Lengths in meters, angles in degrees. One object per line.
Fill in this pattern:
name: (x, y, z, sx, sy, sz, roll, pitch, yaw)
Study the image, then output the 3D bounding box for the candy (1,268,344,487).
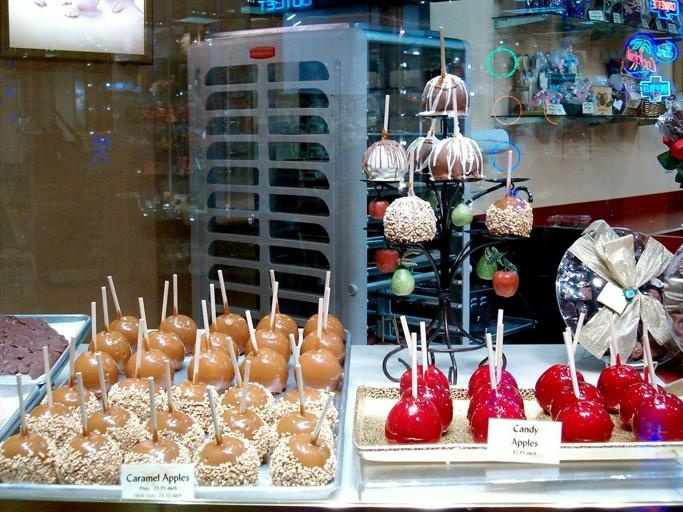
candy: (-0.340, 0.260, 1.283, 0.673, 0.274, 0.524, -2, 12, -1)

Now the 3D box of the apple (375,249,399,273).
apple: (0.125, 0.010, 1.626, 0.062, 0.069, 0.091, -1, 12, 5)

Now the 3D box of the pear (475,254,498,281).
pear: (0.385, 0.033, 1.651, 0.061, 0.093, 0.059, 1, 7, 5)

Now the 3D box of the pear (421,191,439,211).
pear: (0.234, -0.140, 1.606, 0.041, 0.052, 0.095, 0, 12, 8)

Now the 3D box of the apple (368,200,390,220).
apple: (0.103, -0.120, 1.682, 0.049, 0.049, 0.050, -5, -10, 31)

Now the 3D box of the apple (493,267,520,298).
apple: (0.428, 0.072, 1.621, 0.064, 0.074, 0.066, -14, -15, 33)
